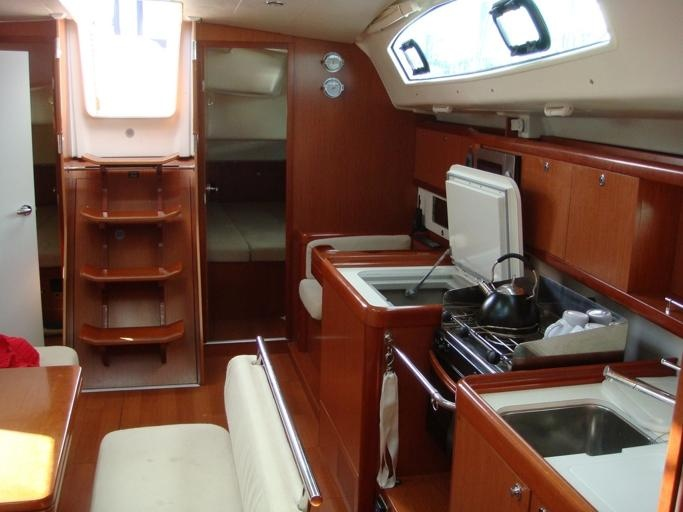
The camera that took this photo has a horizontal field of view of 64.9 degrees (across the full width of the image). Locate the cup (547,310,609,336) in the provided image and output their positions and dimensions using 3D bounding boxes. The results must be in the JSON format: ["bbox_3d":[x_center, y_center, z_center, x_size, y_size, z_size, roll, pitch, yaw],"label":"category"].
[{"bbox_3d":[0.935,0.265,2.113,0.171,0.078,0.117,-17,21,-19],"label":"cup"}]

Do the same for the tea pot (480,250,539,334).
[{"bbox_3d":[0.741,0.156,2.350,0.277,0.315,0.282,3,7,0],"label":"tea pot"}]

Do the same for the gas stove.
[{"bbox_3d":[0.613,0.353,2.228,0.200,0.153,0.326,-6,19,-14],"label":"gas stove"}]

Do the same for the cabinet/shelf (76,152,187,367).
[{"bbox_3d":[-1.485,0.058,3.812,0.821,1.453,0.439,0,7,-11],"label":"cabinet/shelf"}]

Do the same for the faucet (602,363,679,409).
[{"bbox_3d":[0.920,0.415,1.617,0.127,0.089,0.247,-2,11,-6],"label":"faucet"}]
